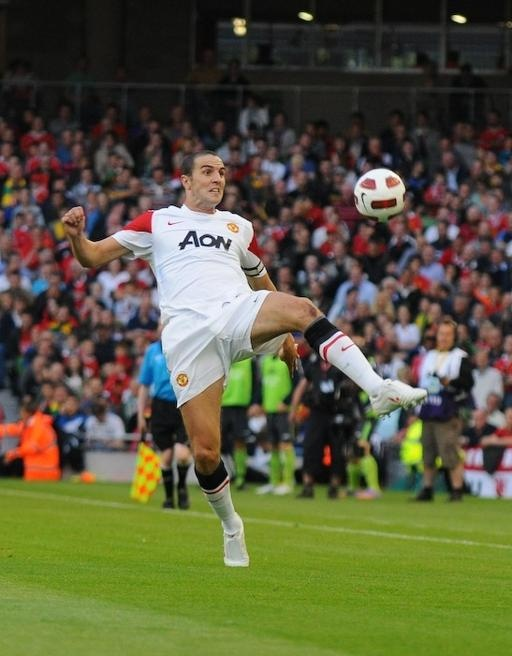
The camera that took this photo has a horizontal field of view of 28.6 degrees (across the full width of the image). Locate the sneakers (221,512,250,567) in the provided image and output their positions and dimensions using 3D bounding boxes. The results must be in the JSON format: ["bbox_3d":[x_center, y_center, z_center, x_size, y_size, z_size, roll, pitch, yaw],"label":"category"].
[{"bbox_3d":[-0.095,1.063,5.005,0.122,0.226,0.277,1,4,0],"label":"sneakers"}]

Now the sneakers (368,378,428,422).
[{"bbox_3d":[0.624,0.329,4.632,0.158,0.107,0.304,44,-33,-23],"label":"sneakers"}]

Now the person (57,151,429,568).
[{"bbox_3d":[-0.094,0.113,5.244,1.753,2.097,0.841,2,5,18],"label":"person"}]

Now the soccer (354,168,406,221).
[{"bbox_3d":[0.727,-0.796,6.091,0.346,0.302,0.326,-11,25,-17],"label":"soccer"}]
